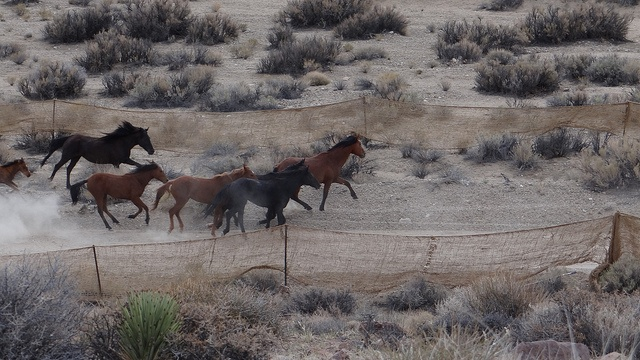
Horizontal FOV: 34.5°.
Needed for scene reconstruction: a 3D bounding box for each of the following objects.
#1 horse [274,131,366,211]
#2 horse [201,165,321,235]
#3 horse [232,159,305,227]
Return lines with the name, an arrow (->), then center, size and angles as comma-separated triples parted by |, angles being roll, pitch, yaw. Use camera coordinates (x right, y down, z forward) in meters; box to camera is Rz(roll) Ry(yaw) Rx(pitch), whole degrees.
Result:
horse -> -0.193, -0.180, 42.540 | 4.651, 2.682, 1.105 | -9, 9, -24
horse -> -2.208, 0.508, 40.624 | 7.100, 3.264, 2.822 | -2, -1, -8
horse -> -1.927, 0.776, 41.439 | 4.616, 2.371, 1.038 | -2, 4, 31
